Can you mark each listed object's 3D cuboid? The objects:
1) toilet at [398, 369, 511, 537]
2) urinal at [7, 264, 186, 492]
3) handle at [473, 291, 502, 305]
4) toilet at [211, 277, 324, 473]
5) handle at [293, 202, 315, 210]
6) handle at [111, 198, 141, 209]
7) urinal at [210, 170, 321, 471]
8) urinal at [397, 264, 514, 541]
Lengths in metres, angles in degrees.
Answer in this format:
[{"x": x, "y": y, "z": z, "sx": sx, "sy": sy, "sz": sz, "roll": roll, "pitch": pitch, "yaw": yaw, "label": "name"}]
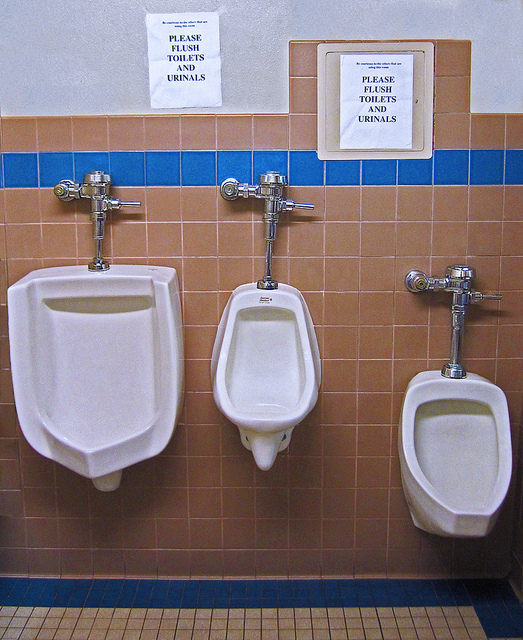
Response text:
[{"x": 0.538, "y": 0.409, "z": 1.758, "sx": 0.287, "sy": 0.282, "sz": 0.442, "roll": 0, "pitch": 27, "yaw": 8, "label": "toilet"}, {"x": -0.446, "y": 0.127, "z": 1.775, "sx": 0.431, "sy": 0.502, "sz": 0.364, "roll": 0, "pitch": 13, "yaw": 0, "label": "urinal"}, {"x": 0.643, "y": -0.064, "z": 1.836, "sx": 0.069, "sy": 0.033, "sz": 0.030, "roll": -3, "pitch": 20, "yaw": 0, "label": "handle"}, {"x": 0.012, "y": 0.220, "z": 1.841, "sx": 0.276, "sy": 0.486, "sz": 0.437, "roll": 2, "pitch": 42, "yaw": 3, "label": "toilet"}, {"x": 0.119, "y": -0.320, "z": 1.823, "sx": 0.079, "sy": 0.021, "sz": 0.020, "roll": 4, "pitch": 1, "yaw": -14, "label": "handle"}, {"x": -0.387, "y": -0.330, "z": 1.826, "sx": 0.093, "sy": 0.040, "sz": 0.030, "roll": 0, "pitch": 12, "yaw": -2, "label": "handle"}, {"x": 0.013, "y": 0.024, "z": 1.744, "sx": 0.291, "sy": 0.783, "sz": 0.431, "roll": -3, "pitch": 22, "yaw": -7, "label": "urinal"}, {"x": 0.538, "y": 0.337, "z": 1.870, "sx": 0.444, "sy": 0.936, "sz": 0.264, "roll": 0, "pitch": 12, "yaw": 1, "label": "urinal"}]
